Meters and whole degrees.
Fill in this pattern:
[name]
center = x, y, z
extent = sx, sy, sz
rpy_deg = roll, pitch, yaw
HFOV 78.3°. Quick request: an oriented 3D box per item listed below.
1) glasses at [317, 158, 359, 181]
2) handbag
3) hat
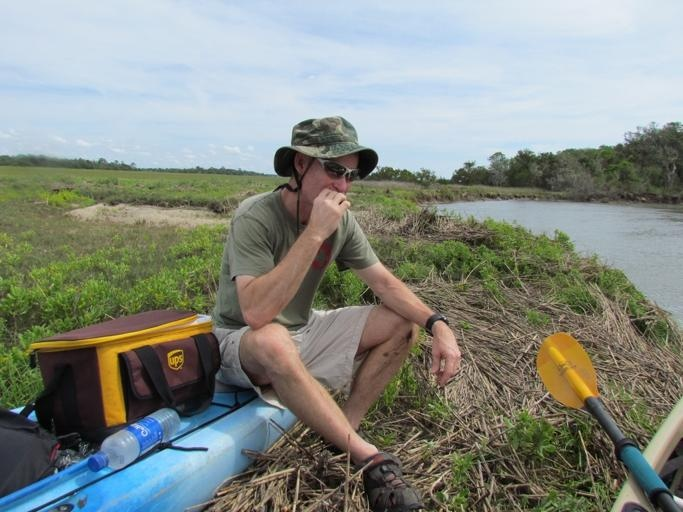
[glasses]
center = -0.016, -0.598, 2.916
extent = 0.291, 0.145, 0.101
rpy_deg = -5, 15, -29
[handbag]
center = -1.437, 0.627, 2.736
extent = 0.795, 0.527, 0.930
rpy_deg = 0, 3, 22
[hat]
center = -0.160, -0.818, 3.109
extent = 0.747, 0.399, 0.705
rpy_deg = -7, 4, 10
